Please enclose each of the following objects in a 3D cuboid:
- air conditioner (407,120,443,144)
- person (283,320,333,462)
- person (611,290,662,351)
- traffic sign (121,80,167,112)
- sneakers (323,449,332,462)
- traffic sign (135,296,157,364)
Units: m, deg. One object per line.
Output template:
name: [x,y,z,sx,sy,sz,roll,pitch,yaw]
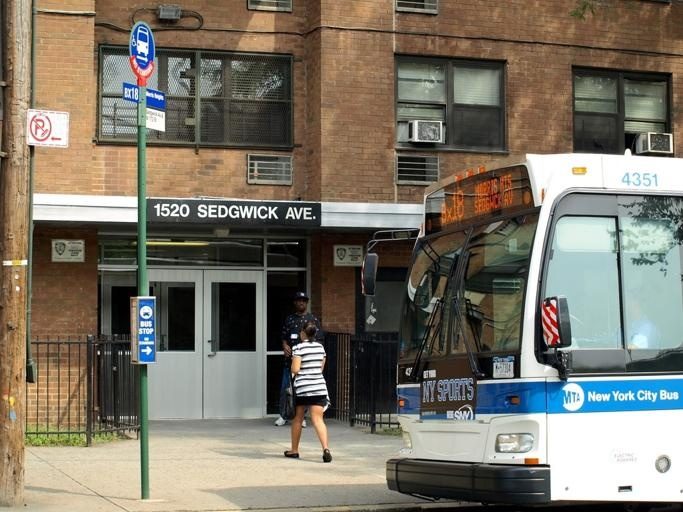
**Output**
air conditioner: [1.509,-2.193,23.182,0.668,0.407,0.418,2,6,-7]
person: [-0.473,1.993,19.269,0.699,2.063,1.218,2,6,-3]
person: [3.348,0.766,15.078,0.251,0.780,0.582,-11,-11,44]
traffic sign: [-2.535,-2.036,16.764,0.579,0.330,0.170,-2,7,-37]
sneakers: [-0.216,2.875,18.962,0.135,0.225,0.398,2,6,-2]
traffic sign: [-2.485,0.944,16.585,0.237,0.851,0.310,1,6,-10]
